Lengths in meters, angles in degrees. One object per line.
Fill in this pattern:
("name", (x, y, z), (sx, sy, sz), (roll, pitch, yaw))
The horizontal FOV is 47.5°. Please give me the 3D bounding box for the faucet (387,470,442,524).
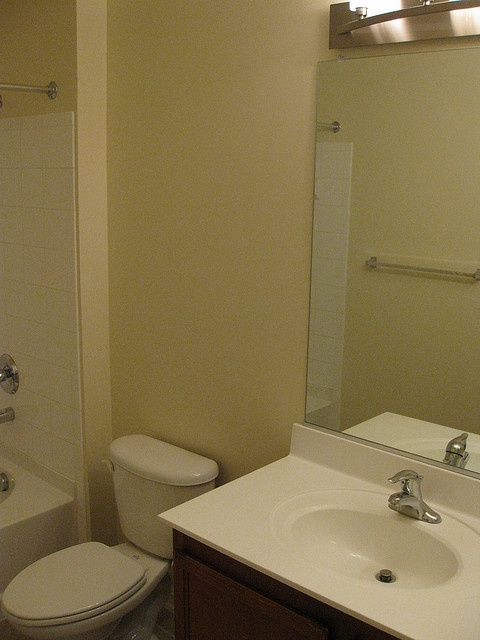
("faucet", (0.362, 0.364, 1.175), (0.132, 0.087, 0.096), (0, 2, -43))
